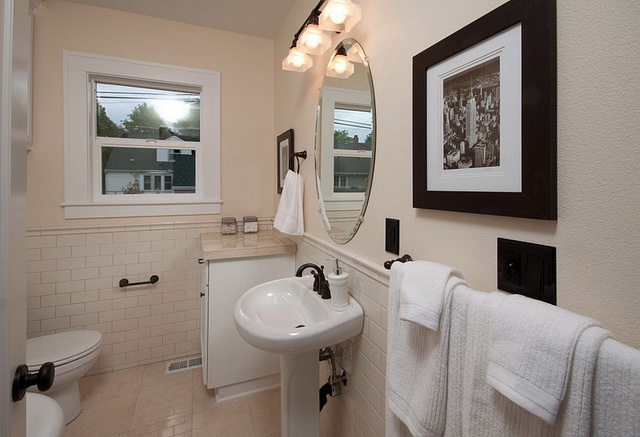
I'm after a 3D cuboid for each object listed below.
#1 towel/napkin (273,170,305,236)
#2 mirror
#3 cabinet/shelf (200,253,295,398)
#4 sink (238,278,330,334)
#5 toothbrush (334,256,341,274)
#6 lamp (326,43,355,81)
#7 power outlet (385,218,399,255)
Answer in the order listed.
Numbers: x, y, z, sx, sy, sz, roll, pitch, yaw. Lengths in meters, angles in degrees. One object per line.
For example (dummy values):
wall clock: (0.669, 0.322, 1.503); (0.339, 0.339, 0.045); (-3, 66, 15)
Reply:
towel/napkin: (-0.205, -0.110, 2.756); (0.240, 0.395, 0.117); (4, 6, 40)
mirror: (0.120, -0.390, 2.285); (0.060, 1.062, 0.570); (-2, 5, -24)
cabinet/shelf: (-0.579, 0.648, 3.327); (0.681, 0.955, 1.001); (0, -2, -23)
sink: (-0.235, 0.459, 2.367); (0.274, 0.117, 0.314); (-11, 13, -20)
toothbrush: (0.086, 0.233, 2.183); (0.031, 0.073, 0.075); (0, 5, 2)
lamp: (0.106, -0.808, 2.276); (0.156, 0.213, 0.160); (2, 16, -9)
power outlet: (0.319, 0.076, 1.955); (0.018, 0.160, 0.100); (-3, 5, -30)
